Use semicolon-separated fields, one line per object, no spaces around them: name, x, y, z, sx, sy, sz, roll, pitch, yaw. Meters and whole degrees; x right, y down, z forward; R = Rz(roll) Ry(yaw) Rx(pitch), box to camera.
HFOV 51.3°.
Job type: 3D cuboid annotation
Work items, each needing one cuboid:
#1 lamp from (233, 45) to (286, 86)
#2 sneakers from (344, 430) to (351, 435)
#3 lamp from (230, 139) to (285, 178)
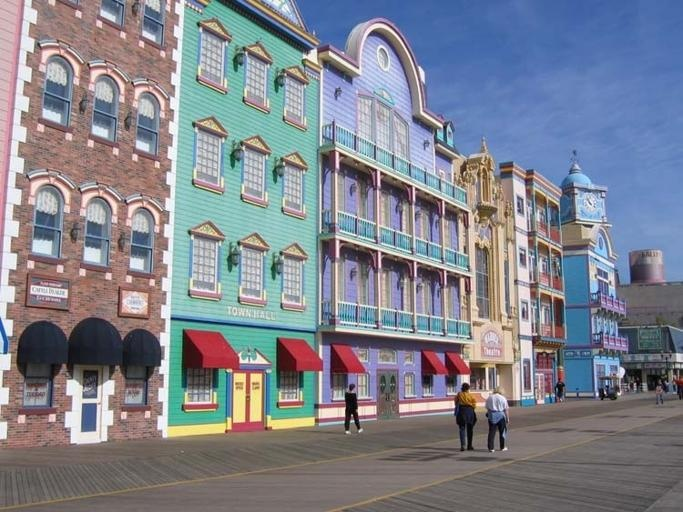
lamp;-3.648;-8.391;31.561;0.758;1.712;3.847;3;-6;16
sneakers;0.262;7.025;28.329;0.098;0.233;0.318;-2;-4;31
lamp;-3.652;-4.231;30.954;0.781;1.828;4.048;1;-3;16
